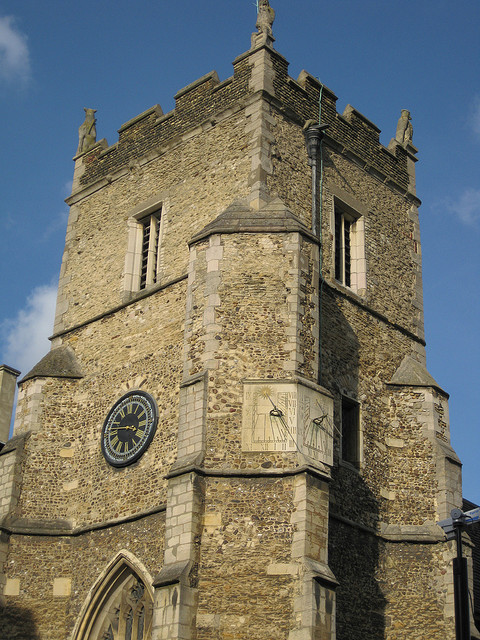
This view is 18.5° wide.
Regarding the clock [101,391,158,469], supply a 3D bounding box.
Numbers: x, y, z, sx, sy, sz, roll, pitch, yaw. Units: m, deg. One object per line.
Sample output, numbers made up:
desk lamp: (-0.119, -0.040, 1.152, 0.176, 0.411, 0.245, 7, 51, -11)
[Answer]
clock: (-2.213, 2.082, 28.765, 0.079, 1.448, 1.437, 29, -11, -40)
